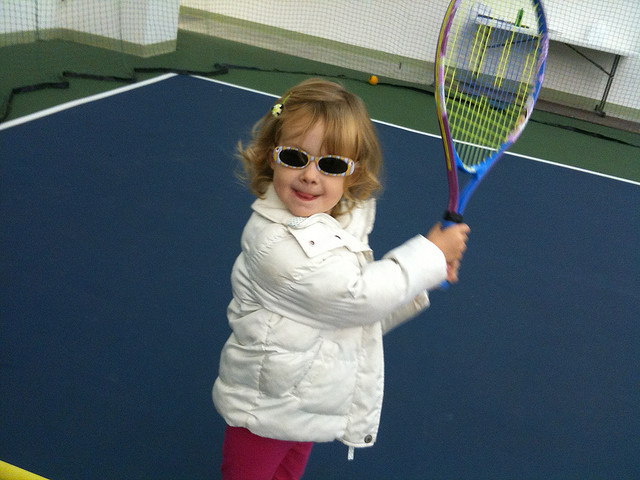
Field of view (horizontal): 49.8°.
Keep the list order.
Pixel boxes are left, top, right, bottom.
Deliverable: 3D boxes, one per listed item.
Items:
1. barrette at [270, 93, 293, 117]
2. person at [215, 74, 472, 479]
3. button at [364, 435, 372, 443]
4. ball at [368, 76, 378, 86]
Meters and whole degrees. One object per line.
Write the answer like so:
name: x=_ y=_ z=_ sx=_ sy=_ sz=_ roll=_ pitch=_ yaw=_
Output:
barrette: x=-0.150 y=-0.537 z=2.702 sx=0.046 sy=0.118 sz=0.031 roll=33 pitch=-7 yaw=2
person: x=0.041 y=0.211 z=2.734 sx=0.798 sy=1.585 sz=0.447 roll=8 pitch=11 yaw=-9
button: x=0.183 y=0.766 z=2.658 sx=0.027 sy=0.033 sz=0.009 roll=6 pitch=0 yaw=-19
ball: x=0.434 y=-1.327 z=5.763 sx=0.068 sy=0.089 sz=0.079 roll=-2 pitch=-4 yaw=5
